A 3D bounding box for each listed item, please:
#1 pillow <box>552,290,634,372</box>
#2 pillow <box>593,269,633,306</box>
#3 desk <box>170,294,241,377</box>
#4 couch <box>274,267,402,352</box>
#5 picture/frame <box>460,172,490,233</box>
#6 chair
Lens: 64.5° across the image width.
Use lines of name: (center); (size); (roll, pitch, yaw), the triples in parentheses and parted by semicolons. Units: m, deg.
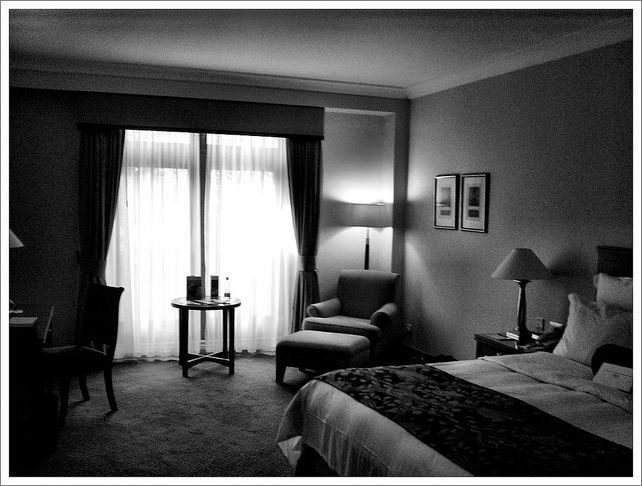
pillow: (2.020, 0.668, 3.785); (0.142, 0.431, 0.449); (12, 4, -32)
pillow: (2.220, 0.330, 3.864); (0.095, 0.212, 0.209); (10, -4, -39)
desk: (-1.300, 1.042, 5.765); (0.825, 0.825, 0.886); (0, -1, -11)
couch: (0.395, 0.882, 5.907); (0.950, 1.084, 1.040); (3, 1, 27)
picture/frame: (1.657, -0.446, 5.464); (0.139, 0.621, 0.477); (-8, 13, -19)
chair: (-2.120, 0.983, 4.489); (0.542, 1.111, 0.768); (6, 16, 38)
